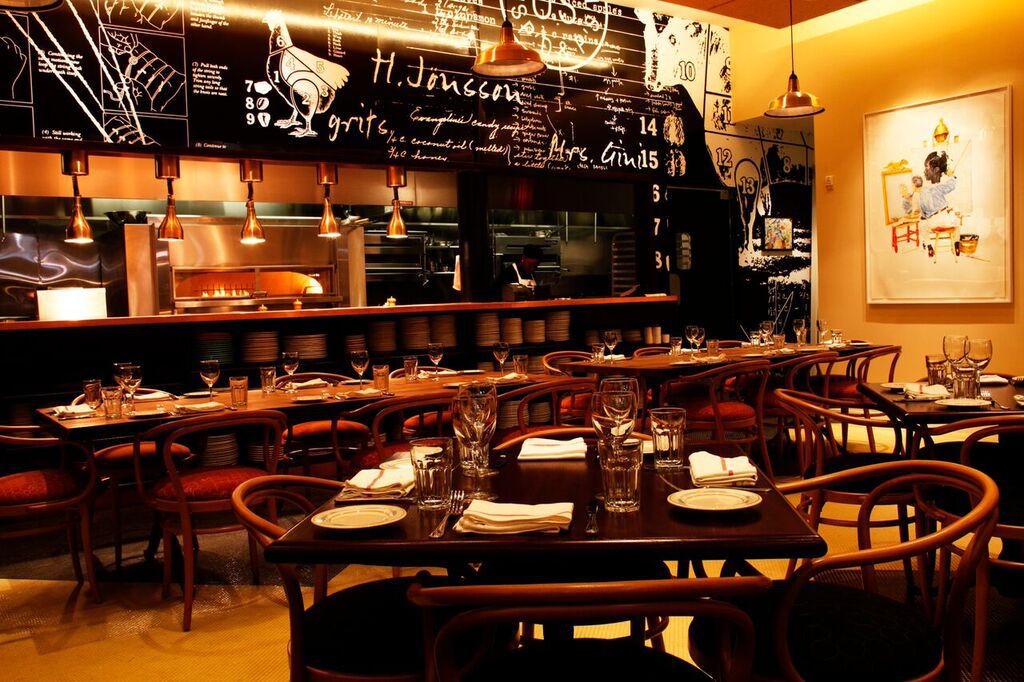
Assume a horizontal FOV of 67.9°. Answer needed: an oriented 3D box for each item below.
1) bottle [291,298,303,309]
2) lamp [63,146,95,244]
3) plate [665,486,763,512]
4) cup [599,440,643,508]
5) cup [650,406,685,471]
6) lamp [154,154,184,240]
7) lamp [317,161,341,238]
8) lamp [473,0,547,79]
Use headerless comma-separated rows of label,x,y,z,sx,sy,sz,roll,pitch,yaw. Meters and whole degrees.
bottle,-2.436,-0.438,8.707,0.133,0.113,0.125,1,-2,-19
lamp,-3.785,-1.251,6.697,0.286,0.780,1.497,-10,14,-27
plate,0.712,0.549,2.638,0.298,0.035,0.205,-8,12,-28
cup,0.380,0.453,2.653,0.132,0.227,0.178,-2,12,5
cup,0.623,0.371,3.028,0.119,0.260,0.213,0,13,14
lamp,-3.016,-1.256,6.752,0.262,0.751,1.545,-9,13,-22
lamp,-1.717,-1.332,7.215,0.201,0.695,1.577,-6,12,-13
lamp,-0.036,-2.098,5.232,0.456,0.459,0.708,-7,12,-19
